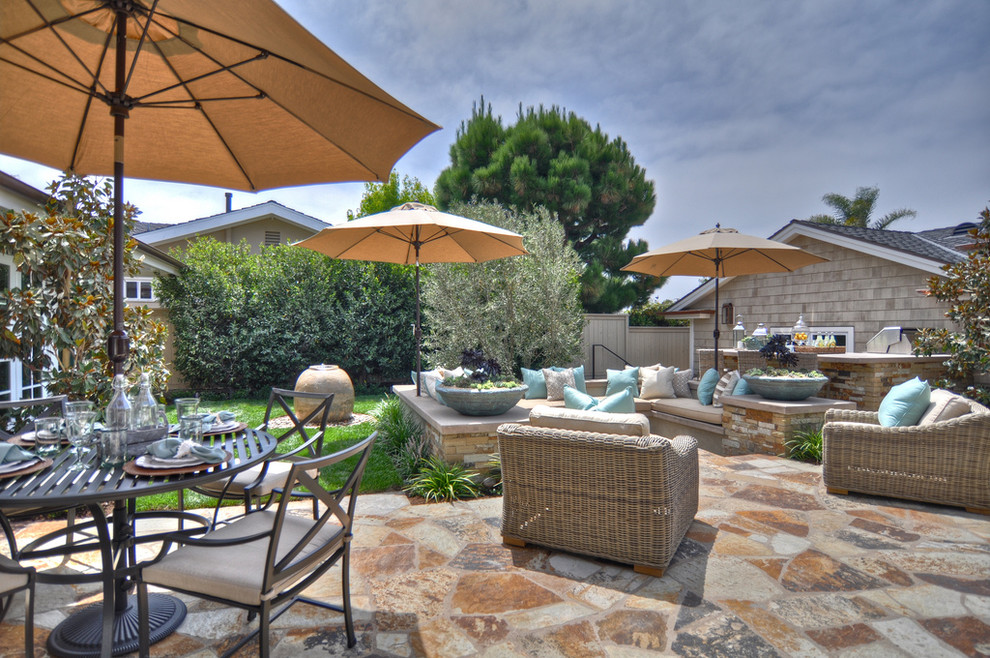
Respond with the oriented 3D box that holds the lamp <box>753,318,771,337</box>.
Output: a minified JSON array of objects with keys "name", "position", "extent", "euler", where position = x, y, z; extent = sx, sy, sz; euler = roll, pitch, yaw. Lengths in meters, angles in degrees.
[{"name":"lamp","position":[5.219,-0.030,12.363],"extent":[0.466,0.337,0.455],"euler":[-1,-3,-4]}]

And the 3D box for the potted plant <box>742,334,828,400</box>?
[{"name":"potted plant","position":[4.018,0.592,8.735],"extent":[1.038,0.728,1.009],"euler":[4,-5,-37]}]

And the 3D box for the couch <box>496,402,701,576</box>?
[{"name":"couch","position":[1.078,1.437,6.283],"extent":[1.701,1.224,1.719],"euler":[-2,0,28]}]

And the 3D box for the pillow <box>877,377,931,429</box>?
[{"name":"pillow","position":[4.475,0.821,6.928],"extent":[0.254,0.330,0.476],"euler":[0,-16,6]}]

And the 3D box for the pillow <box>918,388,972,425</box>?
[{"name":"pillow","position":[4.699,0.831,6.598],"extent":[0.433,0.380,0.502],"euler":[-2,-2,41]}]

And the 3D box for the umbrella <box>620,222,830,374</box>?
[{"name":"umbrella","position":[3.462,-0.732,9.674],"extent":[2.563,1.884,2.698],"euler":[-1,1,1]}]

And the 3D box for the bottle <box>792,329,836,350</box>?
[{"name":"bottle","position":[5.056,0.177,10.066],"extent":[0.515,0.209,0.401],"euler":[-1,-1,25]}]

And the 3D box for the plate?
[{"name":"plate","position":[-2.553,0.879,4.626],"extent":[1.293,0.324,0.441],"euler":[-1,-2,9]}]
